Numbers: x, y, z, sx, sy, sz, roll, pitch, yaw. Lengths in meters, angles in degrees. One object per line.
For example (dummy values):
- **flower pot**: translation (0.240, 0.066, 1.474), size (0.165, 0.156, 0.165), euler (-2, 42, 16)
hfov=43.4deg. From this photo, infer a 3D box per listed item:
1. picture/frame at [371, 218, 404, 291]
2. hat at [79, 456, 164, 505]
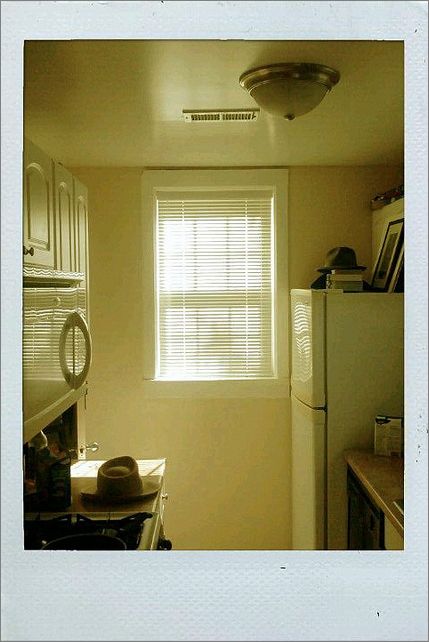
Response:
- **picture/frame**: translation (0.273, -0.109, 0.847), size (0.054, 0.007, 0.110), euler (21, -34, 10)
- **hat**: translation (-0.151, 0.249, 0.845), size (0.093, 0.047, 0.086), euler (-9, 2, 11)
